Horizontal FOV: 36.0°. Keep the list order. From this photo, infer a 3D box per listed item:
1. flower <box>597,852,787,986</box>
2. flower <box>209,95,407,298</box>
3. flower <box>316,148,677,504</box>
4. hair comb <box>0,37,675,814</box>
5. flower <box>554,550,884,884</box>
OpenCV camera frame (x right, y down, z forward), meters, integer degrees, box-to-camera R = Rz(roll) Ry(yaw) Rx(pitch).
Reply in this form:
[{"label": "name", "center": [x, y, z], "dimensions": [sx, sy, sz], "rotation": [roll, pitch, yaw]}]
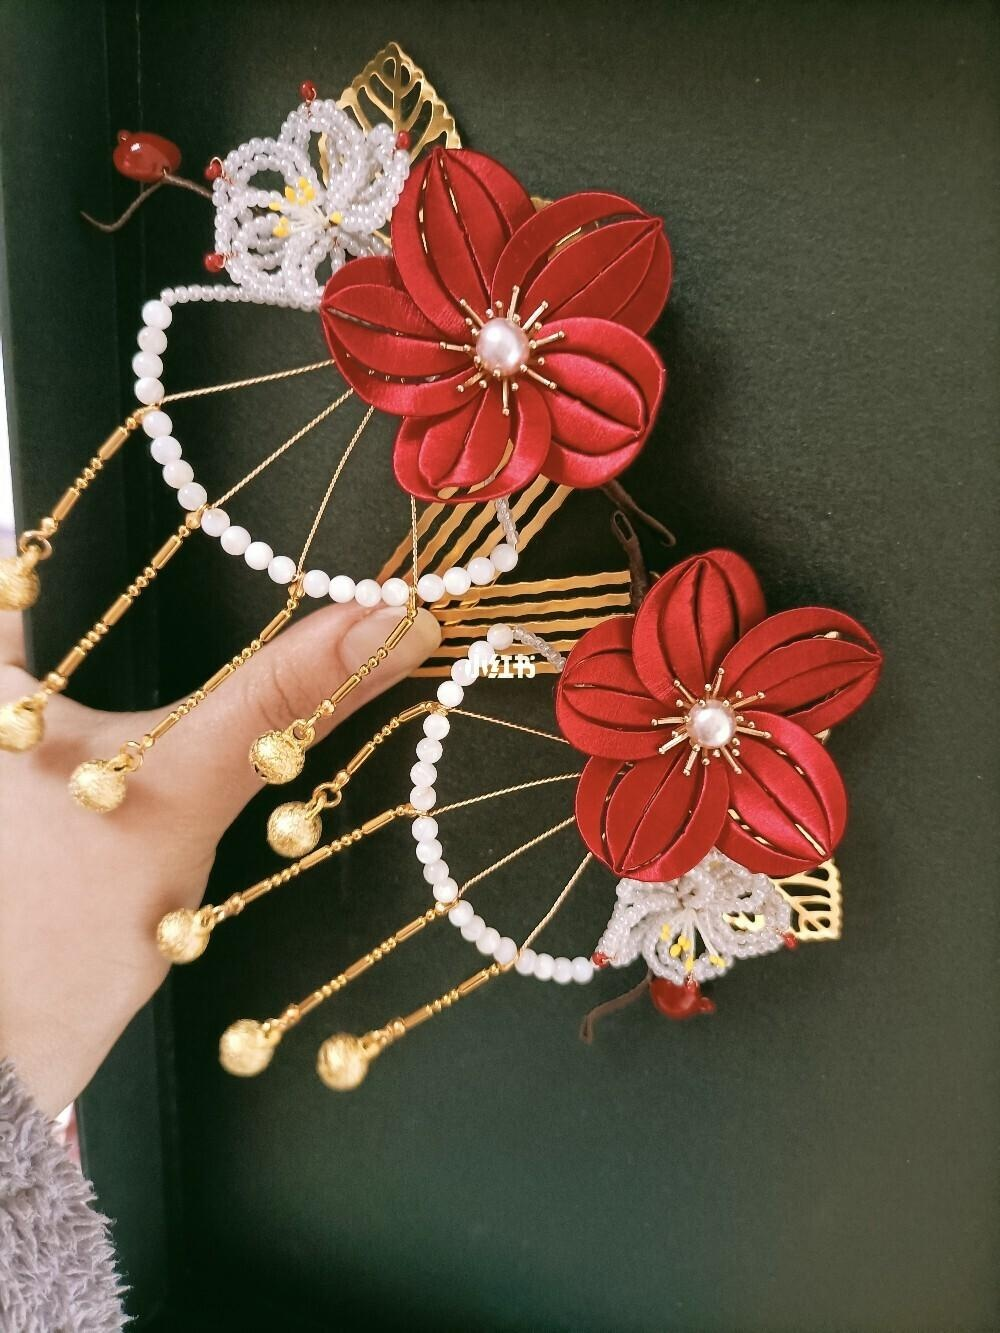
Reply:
[{"label": "flower", "center": [0.180, 0.249, 1.541], "dimensions": [0.182, 0.066, 0.116], "rotation": [-19, 97, 13]}, {"label": "flower", "center": [-0.189, -0.438, 1.529], "dimensions": [0.215, 0.083, 0.187], "rotation": [4, 90, 0]}, {"label": "flower", "center": [0.009, -0.275, 1.394], "dimensions": [0.097, 0.285, 0.263], "rotation": [-30, 76, -12]}, {"label": "hair comb", "center": [-0.139, -0.243, 1.607], "dimensions": [0.602, 0.202, 0.747], "rotation": [39, 105, -4]}, {"label": "flower", "center": [0.196, 0.038, 1.382], "dimensions": [0.333, 0.089, 0.285], "rotation": [8, 99, -5]}]
